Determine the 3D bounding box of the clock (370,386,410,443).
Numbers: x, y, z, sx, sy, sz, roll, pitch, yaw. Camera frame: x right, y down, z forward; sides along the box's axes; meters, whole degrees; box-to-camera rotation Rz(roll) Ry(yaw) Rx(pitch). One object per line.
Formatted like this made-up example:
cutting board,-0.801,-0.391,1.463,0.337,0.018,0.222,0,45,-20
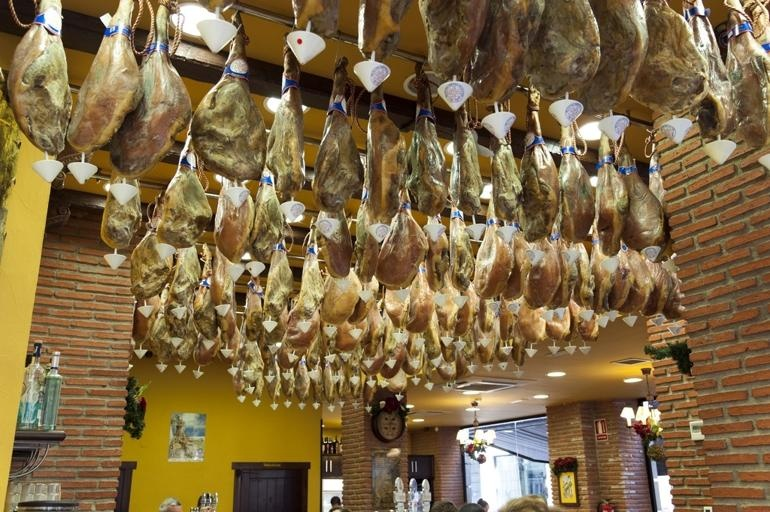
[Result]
clock,0.049,2.749,9.749,0.665,0.936,0.457,2,-25,-9

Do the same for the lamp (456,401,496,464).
lamp,2.848,5.521,17.495,1.131,1.848,1.186,-9,-5,29

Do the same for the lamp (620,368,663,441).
lamp,5.416,3.096,11.525,0.899,1.422,0.970,10,-8,-16

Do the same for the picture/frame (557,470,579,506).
picture/frame,4.961,6.256,15.023,0.192,0.849,0.685,7,-26,-18
